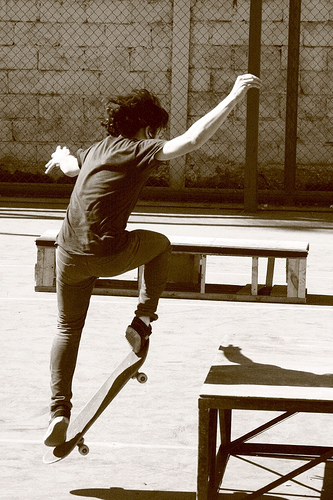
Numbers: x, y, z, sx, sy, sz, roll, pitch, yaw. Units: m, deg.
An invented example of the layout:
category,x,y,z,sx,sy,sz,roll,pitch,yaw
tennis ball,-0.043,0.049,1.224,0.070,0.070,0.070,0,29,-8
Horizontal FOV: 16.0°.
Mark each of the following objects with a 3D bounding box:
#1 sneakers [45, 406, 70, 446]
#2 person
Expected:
category,x,y,z,sx,sy,sz,roll,pitch,yaw
sneakers,-0.496,0.809,5.354,0.100,0.151,0.154,2,10,1
person,-0.229,-0.011,5.719,1.046,1.705,0.810,-4,12,-29
